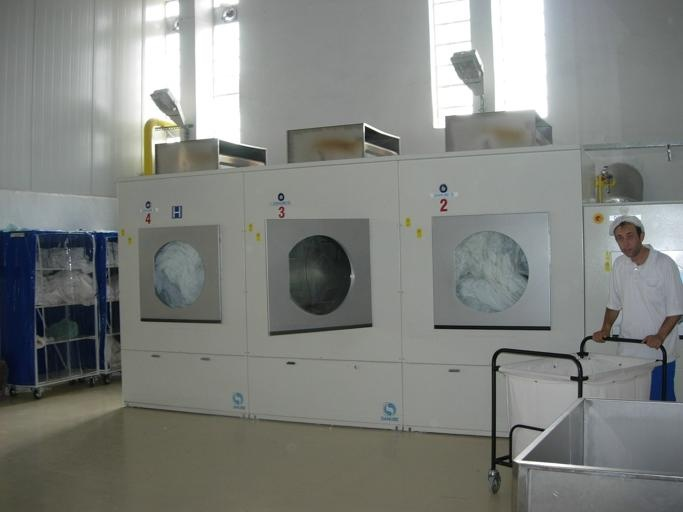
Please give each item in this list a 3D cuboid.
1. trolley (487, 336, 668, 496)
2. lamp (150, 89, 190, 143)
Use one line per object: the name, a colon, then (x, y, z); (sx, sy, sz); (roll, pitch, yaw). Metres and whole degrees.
trolley: (1.395, 1.215, 4.078); (0.636, 0.903, 0.901); (-2, -19, 18)
lamp: (-1.820, -1.533, 6.316); (0.355, 0.511, 0.567); (-2, 6, -6)
